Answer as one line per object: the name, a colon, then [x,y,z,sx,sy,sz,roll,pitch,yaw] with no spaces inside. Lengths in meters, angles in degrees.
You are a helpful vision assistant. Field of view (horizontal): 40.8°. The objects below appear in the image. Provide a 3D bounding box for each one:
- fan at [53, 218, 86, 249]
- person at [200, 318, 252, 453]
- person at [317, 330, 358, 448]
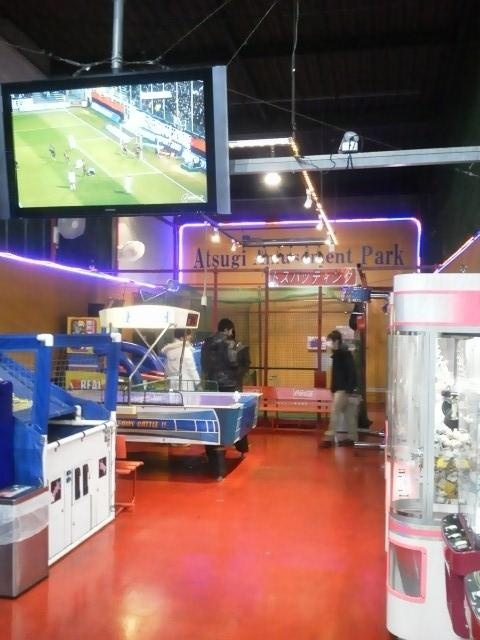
fan: [-2.509,-1.278,9.459,0.418,0.309,0.791,1,1,-12]
person: [-0.222,0.774,8.531,0.637,1.412,2.081,1,1,0]
person: [1.301,0.869,8.347,0.484,1.346,0.464,1,0,2]
